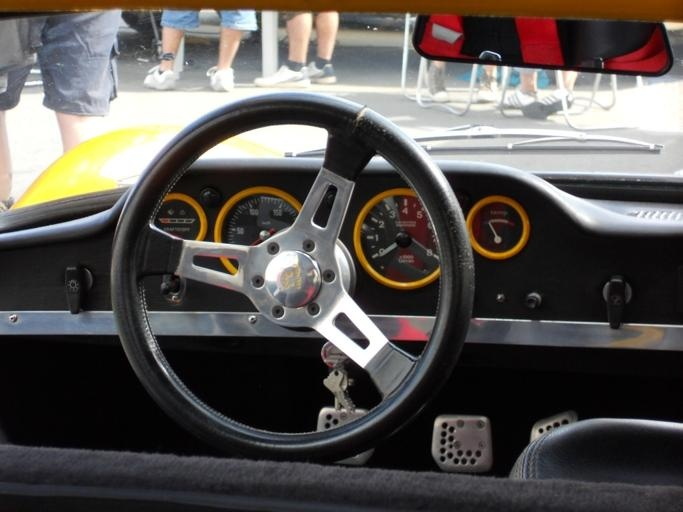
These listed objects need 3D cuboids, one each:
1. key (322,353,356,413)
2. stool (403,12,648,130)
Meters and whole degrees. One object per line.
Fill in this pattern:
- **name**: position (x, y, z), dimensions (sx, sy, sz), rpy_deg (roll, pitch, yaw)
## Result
- **key**: position (-0.005, 0.335, 1.808), dimensions (0.103, 0.100, 0.187), rpy_deg (3, 108, 14)
- **stool**: position (0.464, -0.455, 1.615), dimensions (0.470, 0.279, 0.297), rpy_deg (16, 29, 35)
